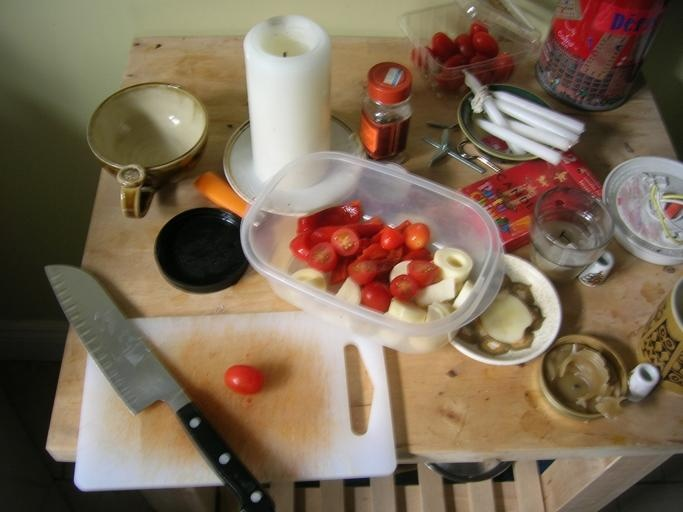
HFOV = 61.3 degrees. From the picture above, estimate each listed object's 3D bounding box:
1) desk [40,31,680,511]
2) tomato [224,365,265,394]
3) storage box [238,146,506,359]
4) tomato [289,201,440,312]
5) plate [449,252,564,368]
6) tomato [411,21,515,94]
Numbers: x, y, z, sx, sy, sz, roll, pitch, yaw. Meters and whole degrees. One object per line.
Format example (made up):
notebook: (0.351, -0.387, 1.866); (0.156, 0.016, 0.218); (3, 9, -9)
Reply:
desk: (0.028, 0.073, 1.614); (1.027, 0.908, 1.177); (-2, 73, -2)
tomato: (-0.171, 0.215, 1.007); (0.065, 0.026, 0.041); (13, 62, 3)
storage box: (0.011, -0.012, 1.065); (0.506, 0.175, 0.358); (25, 70, 9)
tomato: (0.041, -0.006, 1.092); (0.244, 0.086, 0.180); (31, 63, 7)
plate: (0.312, 0.115, 1.035); (0.146, 0.054, 0.203); (34, 66, 14)
tomato: (0.263, -0.433, 1.251); (0.177, 0.073, 0.150); (-16, 66, -7)
